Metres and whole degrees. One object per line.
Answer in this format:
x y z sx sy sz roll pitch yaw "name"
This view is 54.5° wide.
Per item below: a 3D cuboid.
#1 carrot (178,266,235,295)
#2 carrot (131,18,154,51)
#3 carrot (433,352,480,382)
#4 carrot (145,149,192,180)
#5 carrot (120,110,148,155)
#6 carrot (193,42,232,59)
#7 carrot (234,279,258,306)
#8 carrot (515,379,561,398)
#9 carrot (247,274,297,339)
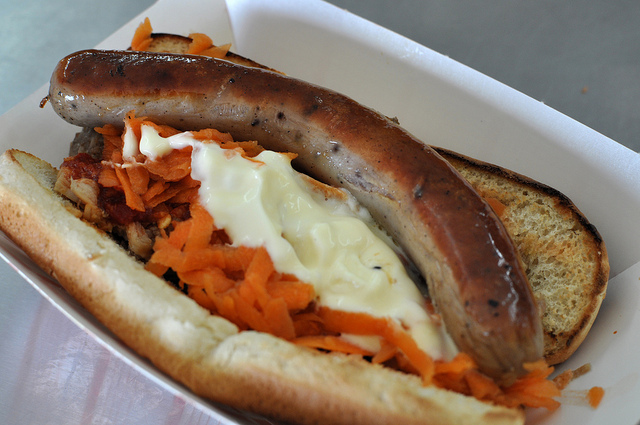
-0.443 0.256 2.454 0.177 0.044 0.117 3 65 -3 "carrot"
-0.905 -0.896 3.161 0.087 0.066 0.178 31 77 -29 "carrot"
0.508 0.613 2.351 0.160 0.287 0.090 5 93 11 "carrot"
-0.621 -0.200 2.552 0.145 0.032 0.123 21 68 9 "carrot"
-0.782 -0.341 2.606 0.090 0.044 0.176 4 77 12 "carrot"
-0.528 -0.797 3.074 0.119 0.043 0.099 -1 59 -1 "carrot"
-0.292 0.303 2.459 0.062 0.035 0.120 -31 83 3 "carrot"
0.834 0.662 2.346 0.171 0.053 0.064 5 81 -2 "carrot"
-0.188 0.361 2.415 0.103 0.078 0.284 -22 83 -6 "carrot"
